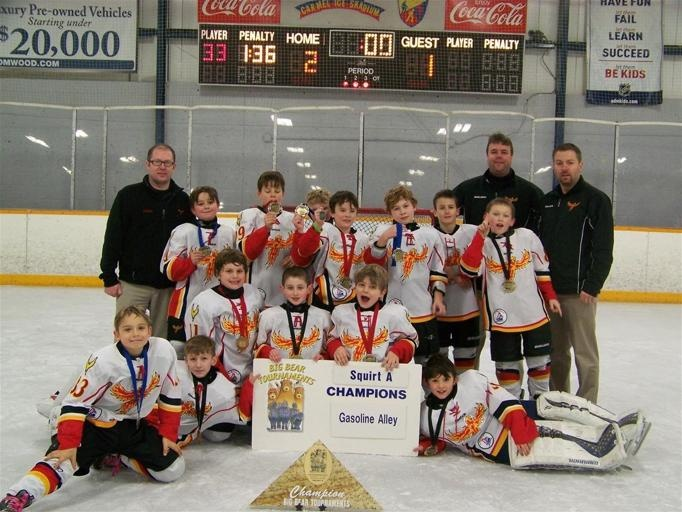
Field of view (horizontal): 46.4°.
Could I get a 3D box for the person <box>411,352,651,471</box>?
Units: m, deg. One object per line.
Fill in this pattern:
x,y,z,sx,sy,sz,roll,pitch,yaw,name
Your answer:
1.587,1.426,7.153,2.042,0.889,1.300,-3,9,29,person

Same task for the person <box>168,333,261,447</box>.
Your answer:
-1.157,1.212,7.164,0.737,0.975,0.545,7,9,1,person
